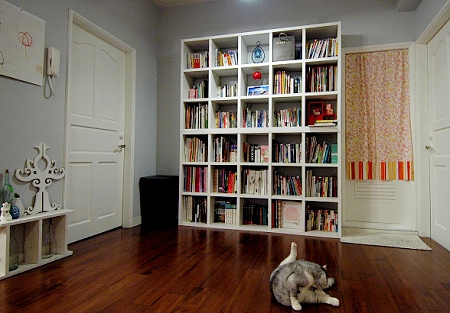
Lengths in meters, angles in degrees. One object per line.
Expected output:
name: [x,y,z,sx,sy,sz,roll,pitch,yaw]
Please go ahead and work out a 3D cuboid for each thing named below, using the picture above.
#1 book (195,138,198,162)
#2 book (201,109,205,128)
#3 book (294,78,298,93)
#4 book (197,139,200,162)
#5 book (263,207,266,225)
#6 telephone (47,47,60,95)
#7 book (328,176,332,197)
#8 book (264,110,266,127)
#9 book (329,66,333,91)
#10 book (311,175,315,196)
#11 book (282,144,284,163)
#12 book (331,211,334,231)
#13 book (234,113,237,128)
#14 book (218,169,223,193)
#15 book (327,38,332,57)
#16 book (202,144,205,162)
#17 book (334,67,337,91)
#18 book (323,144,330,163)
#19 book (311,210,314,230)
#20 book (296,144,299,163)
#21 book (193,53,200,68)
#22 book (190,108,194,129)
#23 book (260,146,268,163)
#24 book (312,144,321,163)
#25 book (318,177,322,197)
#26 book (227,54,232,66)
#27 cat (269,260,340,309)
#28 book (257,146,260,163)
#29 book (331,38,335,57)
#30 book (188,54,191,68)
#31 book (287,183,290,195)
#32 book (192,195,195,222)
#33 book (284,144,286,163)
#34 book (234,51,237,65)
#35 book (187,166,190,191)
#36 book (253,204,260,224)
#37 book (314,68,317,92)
book: [-0.428,-0.106,4.929,0.041,0.335,0.059,0,9,-6]
book: [-0.328,-0.572,4.910,0.047,0.275,0.076,-2,10,-17]
book: [0.999,-0.994,4.632,0.055,0.188,0.060,2,9,11]
book: [-0.393,-0.100,4.929,0.031,0.320,0.081,2,9,7]
book: [0.570,0.851,4.763,0.044,0.234,0.057,2,9,7]
telephone: [-1.943,-0.964,3.710,0.062,0.516,0.164,6,4,2]
book: [1.435,0.404,4.483,0.059,0.257,0.051,2,9,9]
book: [0.572,-0.545,4.761,0.025,0.271,0.197,0,-3,14]
book: [1.447,-1.066,4.511,0.039,0.404,0.294,-1,-2,14]
book: [1.210,0.403,4.546,0.047,0.252,0.059,1,9,3]
book: [0.815,-0.052,4.660,0.038,0.316,0.230,0,2,12]
book: [1.458,0.864,4.473,0.034,0.258,0.067,1,9,3]
book: [0.153,-0.543,4.892,0.036,0.198,0.089,0,9,-3]
book: [-0.068,0.357,4.839,0.103,0.305,0.301,-1,-4,7]
book: [1.425,-1.482,4.482,0.043,0.232,0.023,3,10,18]
book: [-0.321,-0.064,4.910,0.045,0.248,0.061,-1,9,-10]
book: [1.509,-1.068,4.513,0.032,0.307,0.070,2,9,8]
book: [1.386,-0.046,4.506,0.078,0.234,0.020,-2,9,-13]
book: [1.207,0.873,4.560,0.045,0.256,0.052,0,9,-2]
book: [1.003,-0.049,4.559,0.036,0.248,0.069,0,9,-1]
book: [-0.430,-1.441,4.967,0.119,0.203,0.058,3,10,14]
book: [-0.502,-0.580,4.975,0.086,0.291,0.054,9,13,43]
book: [0.556,-0.040,4.607,0.172,0.269,0.179,0,-1,-2]
book: [1.226,-0.054,4.540,0.053,0.202,0.147,10,-3,12]
book: [1.304,0.405,4.521,0.066,0.255,0.061,3,9,14]
book: [0.064,-1.430,4.849,0.069,0.153,0.036,1,9,6]
cat: [0.665,1.110,2.881,0.455,0.191,0.356,7,13,41]
book: [0.480,-0.042,4.753,0.038,0.217,0.050,0,9,-2]
book: [1.459,-1.472,4.460,0.036,0.241,0.058,3,10,16]
book: [-0.539,-1.442,4.982,0.041,0.194,0.028,-1,9,-7]
book: [0.886,0.445,4.610,0.033,0.156,0.032,1,9,6]
book: [-0.473,0.768,4.924,0.042,0.361,0.110,0,9,-6]
book: [0.837,-0.049,4.654,0.031,0.323,0.236,0,1,13]
book: [0.154,-1.444,4.844,0.043,0.185,0.054,1,9,5]
book: [-0.543,0.321,4.906,0.043,0.348,0.077,-1,9,-7]
book: [0.449,0.837,4.796,0.087,0.248,0.079,1,9,5]
book: [1.253,-1.066,4.570,0.038,0.316,0.062,1,9,2]
